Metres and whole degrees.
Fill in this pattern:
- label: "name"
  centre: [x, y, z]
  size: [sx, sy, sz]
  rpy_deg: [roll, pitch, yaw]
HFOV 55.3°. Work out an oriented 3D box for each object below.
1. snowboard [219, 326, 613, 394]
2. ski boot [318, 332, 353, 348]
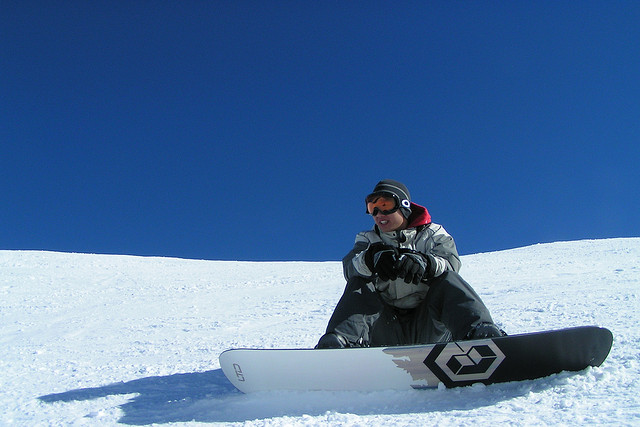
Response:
- label: "snowboard"
  centre: [1.034, 1.506, 6.187]
  size: [3.680, 0.565, 0.230]
  rpy_deg: [-3, -2, 5]
- label: "ski boot"
  centre: [0.142, 1.350, 6.395]
  size: [0.246, 0.166, 0.209]
  rpy_deg: [-2, 44, 1]
